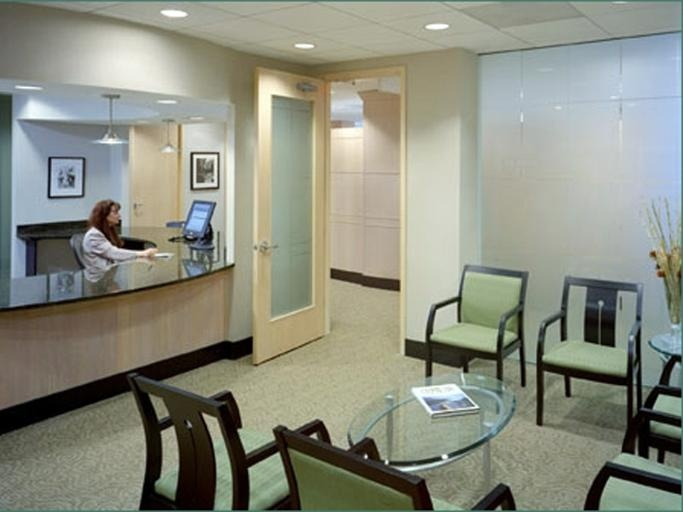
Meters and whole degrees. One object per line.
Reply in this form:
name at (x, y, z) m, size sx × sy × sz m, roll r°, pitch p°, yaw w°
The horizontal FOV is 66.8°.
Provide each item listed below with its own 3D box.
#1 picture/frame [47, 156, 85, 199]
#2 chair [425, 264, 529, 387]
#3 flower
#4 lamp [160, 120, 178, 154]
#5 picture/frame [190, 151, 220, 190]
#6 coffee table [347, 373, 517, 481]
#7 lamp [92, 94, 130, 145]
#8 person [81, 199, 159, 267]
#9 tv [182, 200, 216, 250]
picture/frame at (-4.473, -1.274, 8.336) m, size 0.033 × 0.796 × 0.709 m, roll 3°, pitch 5°, yaw 34°
chair at (1.249, 0.693, 4.793) m, size 0.797 × 1.041 × 0.763 m, roll 3°, pitch 10°, yaw 34°
flower at (2.739, 0.056, 4.413) m, size 0.282 × 1.071 × 0.833 m, roll 4°, pitch 9°, yaw 28°
lamp at (-2.763, -1.891, 8.251) m, size 0.256 × 0.491 × 1.397 m, roll -3°, pitch 9°, yaw -18°
picture/frame at (-2.362, -1.485, 8.840) m, size 0.634 × 0.801 × 0.055 m, roll -3°, pitch 8°, yaw -32°
coffee table at (0.531, 1.034, 3.196) m, size 0.644 × 0.458 × 0.956 m, roll 8°, pitch 15°, yaw 41°
lamp at (-2.837, -1.668, 6.339) m, size 0.426 × 0.579 × 0.437 m, roll 17°, pitch 19°, yaw 32°
person at (-2.354, -0.159, 5.440) m, size 0.630 × 0.373 × 1.126 m, roll 1°, pitch 12°, yaw -19°
tv at (-1.697, -0.392, 6.193) m, size 0.613 × 0.529 × 0.256 m, roll 7°, pitch 11°, yaw 42°
